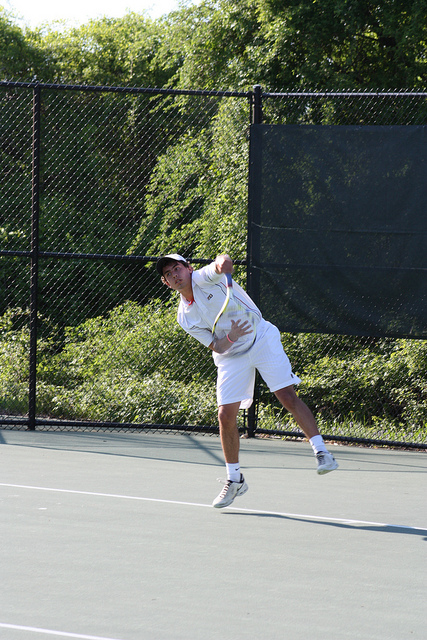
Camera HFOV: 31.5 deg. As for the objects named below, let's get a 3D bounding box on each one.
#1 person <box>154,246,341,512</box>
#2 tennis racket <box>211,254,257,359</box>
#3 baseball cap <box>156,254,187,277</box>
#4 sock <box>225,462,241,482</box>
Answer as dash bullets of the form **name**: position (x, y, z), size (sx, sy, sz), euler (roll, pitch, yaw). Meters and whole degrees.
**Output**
- **person**: position (0.137, 0.175, 3.936), size (0.740, 1.386, 0.968), euler (-16, -23, 4)
- **tennis racket**: position (0.116, -0.071, 4.093), size (0.312, 0.508, 0.295), euler (-12, 7, -18)
- **baseball cap**: position (-0.233, -0.296, 4.156), size (0.161, 0.134, 0.206), euler (2, 1, -4)
- **sock**: position (0.107, 0.807, 4.032), size (0.044, 0.116, 0.082), euler (-19, 1, -7)
